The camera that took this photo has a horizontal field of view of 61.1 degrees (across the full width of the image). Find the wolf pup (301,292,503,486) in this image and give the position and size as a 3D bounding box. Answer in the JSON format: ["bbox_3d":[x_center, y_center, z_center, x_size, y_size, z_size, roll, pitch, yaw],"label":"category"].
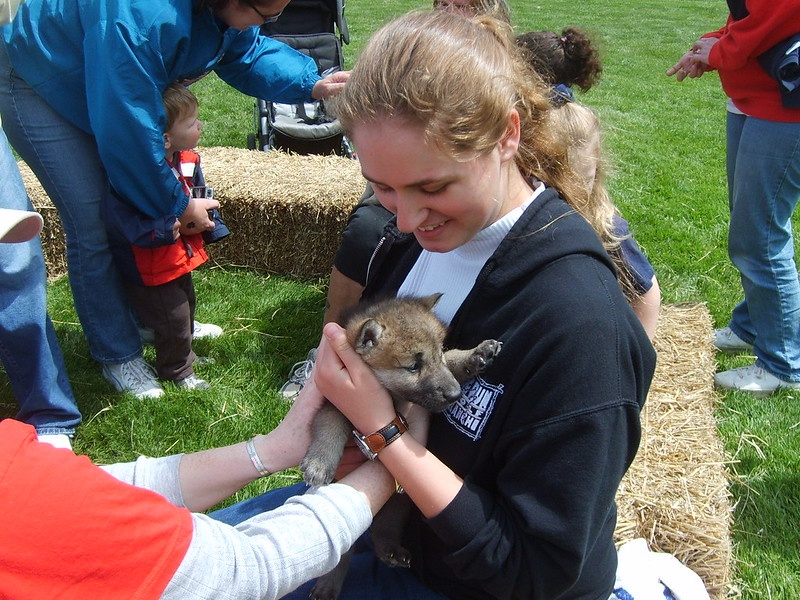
[{"bbox_3d":[-0.085,0.541,3.931,0.425,1.187,0.810,51,46,-6],"label":"wolf pup"}]

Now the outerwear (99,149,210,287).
[{"bbox_3d":[-2.082,-0.666,5.646,0.495,0.854,0.863,11,36,13],"label":"outerwear"}]
